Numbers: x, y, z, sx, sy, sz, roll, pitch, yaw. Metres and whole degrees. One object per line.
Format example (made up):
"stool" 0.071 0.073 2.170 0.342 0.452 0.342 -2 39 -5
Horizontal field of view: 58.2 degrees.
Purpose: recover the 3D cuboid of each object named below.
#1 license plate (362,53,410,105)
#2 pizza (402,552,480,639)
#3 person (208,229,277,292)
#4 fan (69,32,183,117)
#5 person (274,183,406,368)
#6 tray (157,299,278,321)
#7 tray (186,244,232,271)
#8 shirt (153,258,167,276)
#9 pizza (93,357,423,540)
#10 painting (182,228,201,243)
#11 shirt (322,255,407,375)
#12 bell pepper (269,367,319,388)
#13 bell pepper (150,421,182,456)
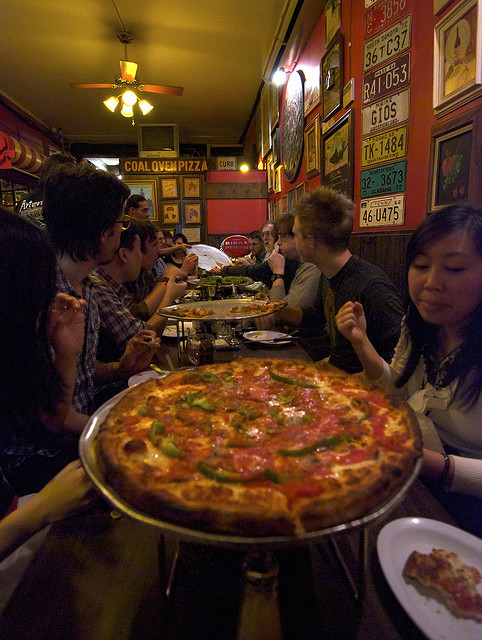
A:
"license plate" 0.951 -1.591 2.876 0.014 0.212 0.405 -4 7 -30
"pizza" 0.357 0.437 0.725 0.119 0.034 0.133 -9 17 -33
"person" 0.066 -0.773 5.056 0.655 0.348 0.922 -8 17 -18
"fan" -1.467 -3.185 5.593 1.012 0.934 1.102 2 9 30
"person" 0.579 -0.260 2.458 0.706 1.070 1.029 -5 15 -2
"tray" -0.095 -0.030 2.297 0.509 0.135 0.458 3 8 -23
"tray" -0.402 -0.898 5.768 0.508 0.057 0.505 30 -24 -17
"shirt" -0.881 -0.575 4.694 0.119 0.122 0.397 -13 9 6
"pizza" 0.017 0.239 0.801 0.318 0.039 0.340 1 18 6
"painting" -1.082 -1.869 9.489 0.389 0.299 0.118 -3 14 -12
"shirt" 0.593 -0.066 2.151 0.411 0.669 0.458 2 11 -6
"bell pepper" 0.127 0.139 1.119 0.038 0.018 0.121 -8 12 -34
"bell pepper" -0.146 0.230 0.843 0.046 0.014 0.046 32 7 -16
